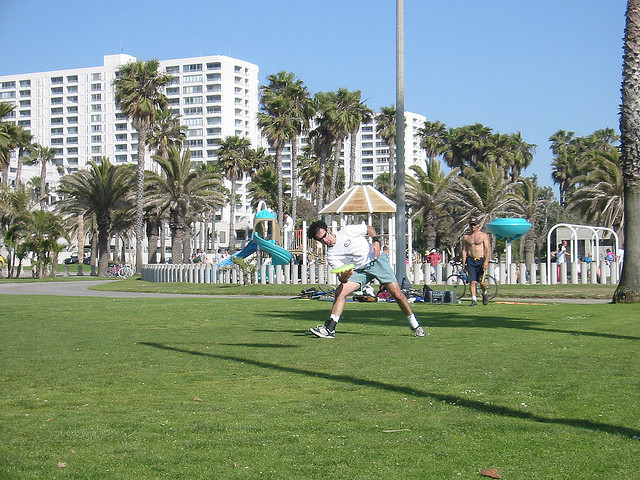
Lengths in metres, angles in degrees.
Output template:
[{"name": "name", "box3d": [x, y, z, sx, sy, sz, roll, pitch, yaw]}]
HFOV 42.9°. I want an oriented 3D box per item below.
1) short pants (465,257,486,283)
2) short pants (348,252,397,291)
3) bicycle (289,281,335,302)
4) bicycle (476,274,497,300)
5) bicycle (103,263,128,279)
[{"name": "short pants", "box3d": [3.714, 0.715, 19.648, 0.483, 0.583, 0.551, 1, -3, 0]}, {"name": "short pants", "box3d": [0.713, 0.436, 12.656, 0.808, 0.566, 0.319, -8, 16, -19]}, {"name": "bicycle", "box3d": [-0.166, 1.507, 24.916, 1.146, 0.630, 0.507, 0, -7, -5]}, {"name": "bicycle", "box3d": [4.546, 1.306, 22.503, 0.845, 0.802, 0.171, -3, 8, -43]}, {"name": "bicycle", "box3d": [-14.632, 2.204, 58.338, 1.972, 1.146, 0.960, 0, -2, 13]}]
